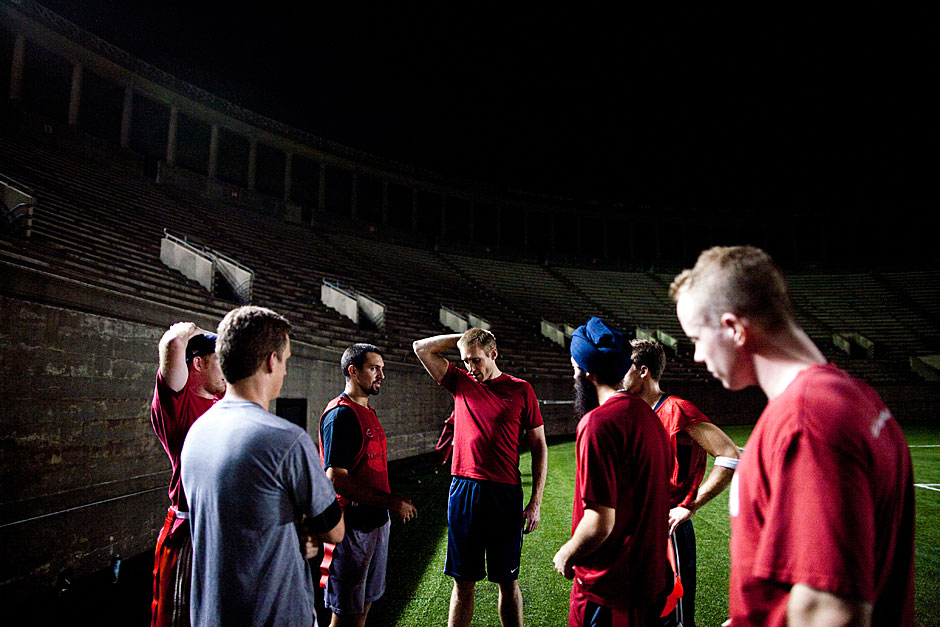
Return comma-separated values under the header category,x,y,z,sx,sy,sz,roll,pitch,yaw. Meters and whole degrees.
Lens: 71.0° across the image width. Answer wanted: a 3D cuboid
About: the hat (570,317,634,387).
category,x,y,z,sx,sy,sz,roll,pitch,yaw
hat,0.901,0.269,4.818,0.479,0.310,0.597,-8,16,-25
